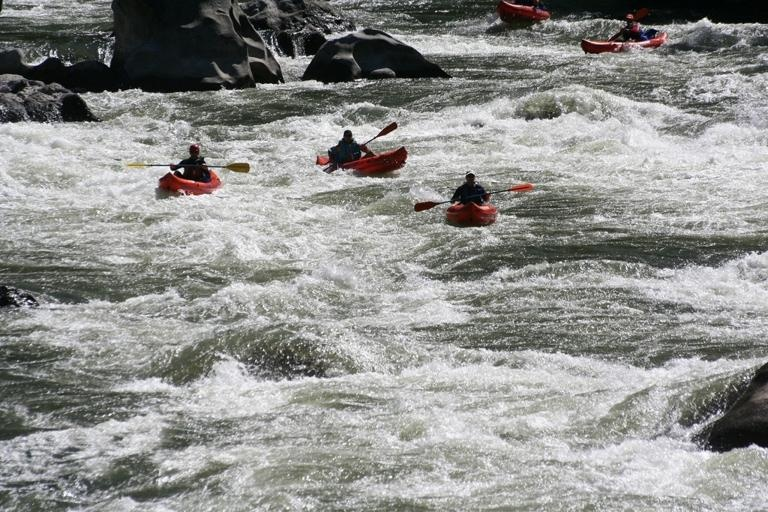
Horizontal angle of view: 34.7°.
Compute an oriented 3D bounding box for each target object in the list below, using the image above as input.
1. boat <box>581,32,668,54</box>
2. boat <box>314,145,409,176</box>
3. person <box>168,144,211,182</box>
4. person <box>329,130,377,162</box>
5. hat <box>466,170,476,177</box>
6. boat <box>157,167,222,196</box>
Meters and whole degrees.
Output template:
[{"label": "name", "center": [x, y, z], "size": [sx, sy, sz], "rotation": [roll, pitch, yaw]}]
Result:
[{"label": "boat", "center": [7.736, -6.559, 38.391], "size": [2.106, 0.394, 0.925], "rotation": [-7, 17, -17]}, {"label": "boat", "center": [-0.453, -2.120, 28.646], "size": [1.761, 0.459, 0.831], "rotation": [-11, 10, 19]}, {"label": "person", "center": [-4.279, -1.846, 27.459], "size": [0.946, 1.206, 0.448], "rotation": [5, -20, -8]}, {"label": "person", "center": [-0.748, -2.584, 29.399], "size": [1.044, 0.935, 0.585], "rotation": [-10, -1, -14]}, {"label": "hat", "center": [1.910, -1.802, 26.798], "size": [0.223, 0.095, 0.328], "rotation": [1, -4, -1]}, {"label": "boat", "center": [-4.264, -1.630, 27.115], "size": [1.296, 0.498, 0.626], "rotation": [-10, 18, -36]}]
